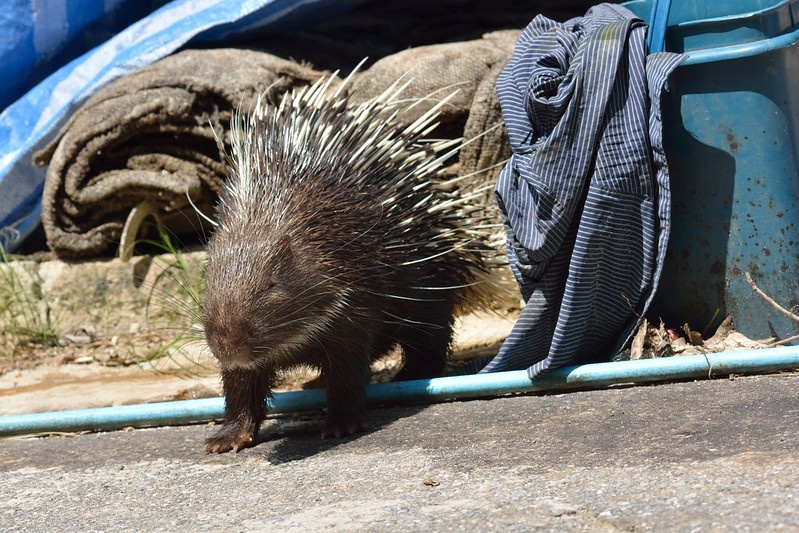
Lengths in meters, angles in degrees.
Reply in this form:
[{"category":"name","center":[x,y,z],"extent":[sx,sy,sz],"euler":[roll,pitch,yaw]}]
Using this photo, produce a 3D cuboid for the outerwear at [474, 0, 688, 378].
[{"category":"outerwear","center":[0.643,-0.273,3.461],"extent":[0.729,1.308,0.285],"euler":[-2,2,3]}]
